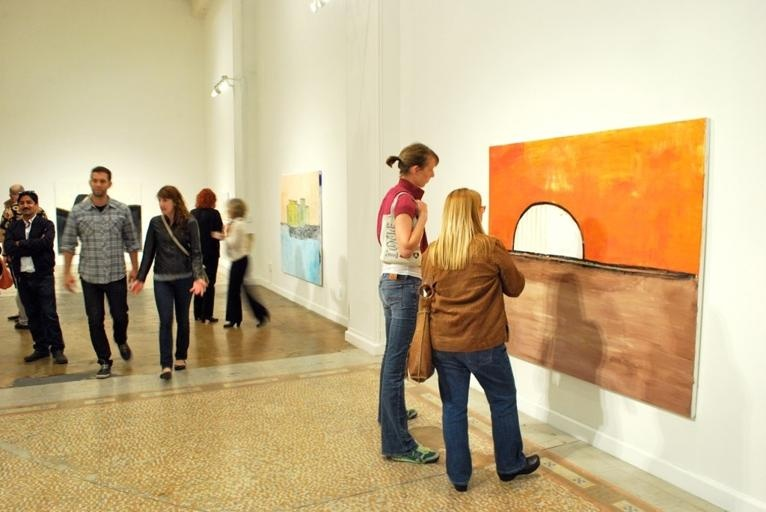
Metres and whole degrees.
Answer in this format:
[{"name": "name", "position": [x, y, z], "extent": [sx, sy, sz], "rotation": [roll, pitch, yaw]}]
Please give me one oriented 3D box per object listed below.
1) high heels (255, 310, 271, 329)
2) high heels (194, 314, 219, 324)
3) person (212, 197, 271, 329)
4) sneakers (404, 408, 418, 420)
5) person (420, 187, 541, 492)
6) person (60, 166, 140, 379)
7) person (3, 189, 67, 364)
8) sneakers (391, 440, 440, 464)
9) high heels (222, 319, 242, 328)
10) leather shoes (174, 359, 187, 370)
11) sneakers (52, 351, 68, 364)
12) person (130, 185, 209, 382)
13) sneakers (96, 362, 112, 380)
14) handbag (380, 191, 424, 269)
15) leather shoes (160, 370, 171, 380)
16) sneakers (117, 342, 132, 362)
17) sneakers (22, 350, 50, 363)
[{"name": "high heels", "position": [-1.806, 0.942, 8.047], "extent": [0.213, 0.223, 0.248], "rotation": [5, 24, 1]}, {"name": "high heels", "position": [-2.795, 0.993, 8.369], "extent": [0.390, 0.164, 0.140], "rotation": [-1, 4, -8]}, {"name": "person", "position": [-2.090, 0.144, 7.722], "extent": [0.629, 1.943, 0.710], "rotation": [-5, 11, -22]}, {"name": "sneakers", "position": [0.246, 1.415, 4.737], "extent": [0.090, 0.090, 0.230], "rotation": [0, 3, 8]}, {"name": "person", "position": [0.657, 0.605, 3.798], "extent": [0.663, 2.114, 0.393], "rotation": [-4, 11, -17]}, {"name": "person", "position": [-3.068, 0.181, 5.783], "extent": [0.744, 2.269, 0.659], "rotation": [-7, 12, -31]}, {"name": "person", "position": [-4.167, 0.251, 6.281], "extent": [0.512, 1.983, 0.824], "rotation": [-7, 12, -33]}, {"name": "sneakers", "position": [0.259, 1.556, 4.210], "extent": [0.401, 0.175, 0.146], "rotation": [-1, -3, 4]}, {"name": "high heels", "position": [-2.304, 1.020, 8.018], "extent": [0.245, 0.107, 0.128], "rotation": [8, -7, -20]}, {"name": "leather shoes", "position": [-2.345, 1.248, 6.084], "extent": [0.081, 0.088, 0.227], "rotation": [2, -11, -16]}, {"name": "sneakers", "position": [-3.807, 1.195, 6.198], "extent": [0.094, 0.110, 0.264], "rotation": [3, -4, -38]}, {"name": "person", "position": [-2.330, 0.298, 5.786], "extent": [0.723, 2.080, 0.426], "rotation": [-4, 11, -22]}, {"name": "sneakers", "position": [-3.071, 1.264, 5.806], "extent": [0.113, 0.119, 0.299], "rotation": [8, -14, -26]}, {"name": "handbag", "position": [0.126, -0.162, 4.051], "extent": [0.339, 0.642, 0.342], "rotation": [1, 10, 6]}, {"name": "leather shoes", "position": [-2.366, 1.287, 5.738], "extent": [0.055, 0.063, 0.161], "rotation": [10, -31, -39]}, {"name": "sneakers", "position": [-3.111, 1.142, 6.354], "extent": [0.100, 0.279, 0.077], "rotation": [-31, 44, -28]}, {"name": "sneakers", "position": [-4.193, 1.207, 6.344], "extent": [0.098, 0.110, 0.262], "rotation": [-6, -8, 2]}]
